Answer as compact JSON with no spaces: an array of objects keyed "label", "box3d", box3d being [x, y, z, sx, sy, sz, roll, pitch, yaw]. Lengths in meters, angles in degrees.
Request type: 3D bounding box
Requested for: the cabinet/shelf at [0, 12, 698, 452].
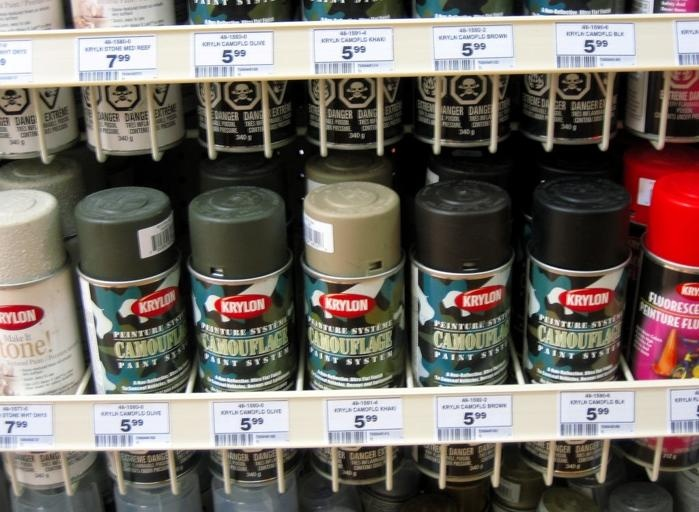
[{"label":"cabinet/shelf","box3d":[0.002,-0.027,0.983,1.083,0.477,0.242,-2,-22,3]}]
